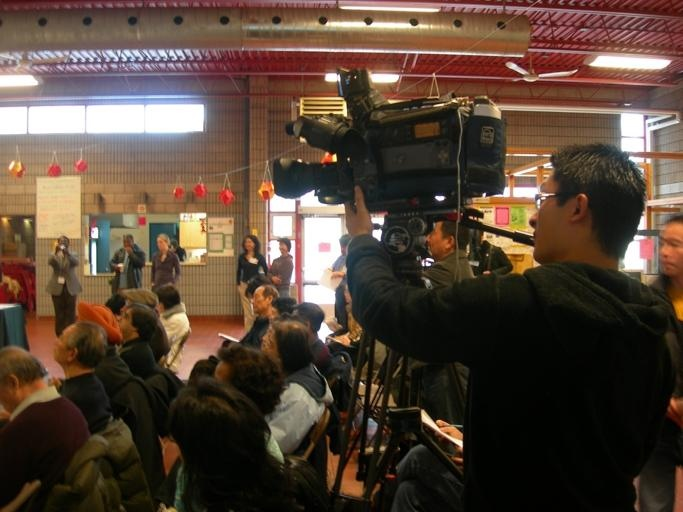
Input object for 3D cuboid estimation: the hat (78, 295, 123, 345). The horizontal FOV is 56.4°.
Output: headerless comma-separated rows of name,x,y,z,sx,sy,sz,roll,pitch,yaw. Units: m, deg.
hat,-1.644,0.450,4.319,0.268,0.271,0.715,-2,3,-22
